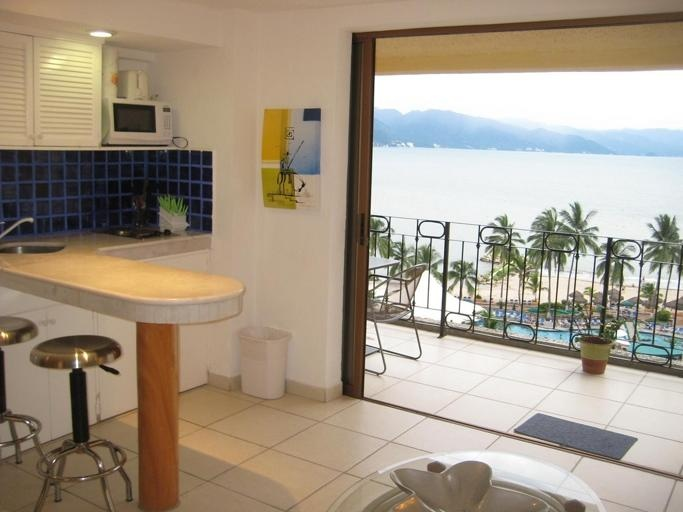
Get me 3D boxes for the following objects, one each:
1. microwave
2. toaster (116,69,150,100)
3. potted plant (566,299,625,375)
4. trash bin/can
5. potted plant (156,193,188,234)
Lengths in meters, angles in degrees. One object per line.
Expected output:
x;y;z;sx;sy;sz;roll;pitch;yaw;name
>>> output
-1.692;-1.071;4.067;0.329;0.350;0.578;12;16;31;microwave
-1.660;-1.358;4.067;0.241;0.237;0.257;13;19;37;toaster
2.457;0.772;4.813;0.451;0.568;0.424;2;1;11;potted plant
-0.595;0.845;3.993;0.512;0.508;0.391;6;10;34;trash bin/can
-1.403;-0.366;4.209;0.201;0.267;0.325;-10;18;-43;potted plant
